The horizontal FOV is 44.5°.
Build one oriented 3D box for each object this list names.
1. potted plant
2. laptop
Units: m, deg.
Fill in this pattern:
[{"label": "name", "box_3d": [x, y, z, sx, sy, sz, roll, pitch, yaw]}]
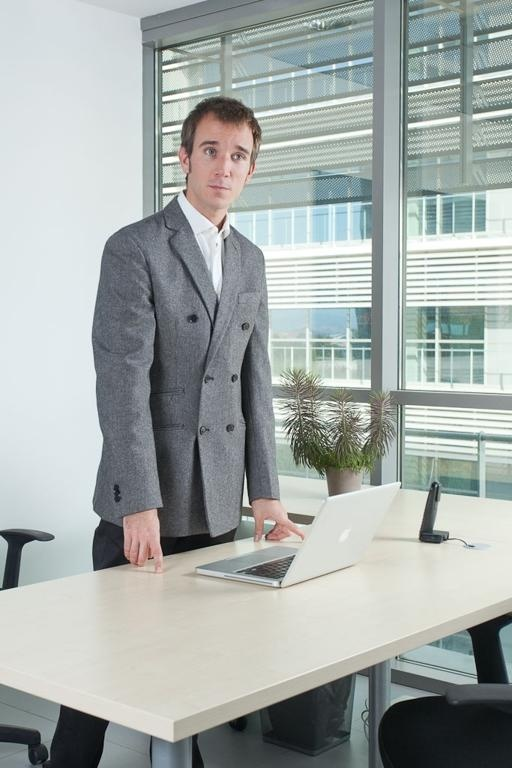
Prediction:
[{"label": "potted plant", "box_3d": [0.272, 0.243, 2.204, 0.239, 0.325, 0.271, -14, -37, 23]}, {"label": "laptop", "box_3d": [0.076, 0.228, 1.163, 0.242, 0.153, 0.247, 2, 1, 34]}]
